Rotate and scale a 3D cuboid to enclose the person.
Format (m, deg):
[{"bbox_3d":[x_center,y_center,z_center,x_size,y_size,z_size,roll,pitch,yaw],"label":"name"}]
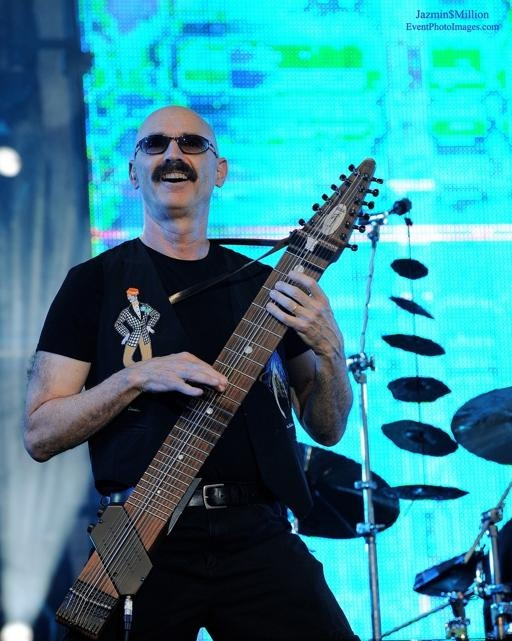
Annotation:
[{"bbox_3d":[-0.146,0.146,3.198,1.122,1.790,0.775,8,4,5],"label":"person"}]

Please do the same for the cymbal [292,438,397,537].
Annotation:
[{"bbox_3d":[0.463,0.783,4.816,0.244,0.516,0.845,-12,4,-17],"label":"cymbal"}]
